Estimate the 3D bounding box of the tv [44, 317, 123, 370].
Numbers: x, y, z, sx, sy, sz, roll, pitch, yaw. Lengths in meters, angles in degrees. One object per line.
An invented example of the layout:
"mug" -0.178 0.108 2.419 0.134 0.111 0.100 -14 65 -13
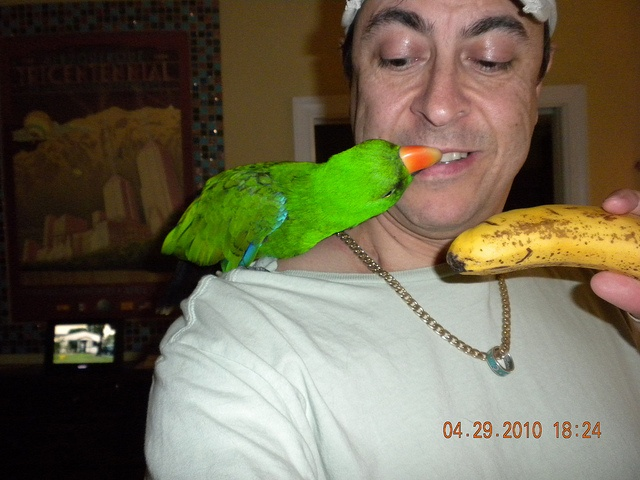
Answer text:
"tv" -1.160 0.545 3.043 0.409 0.247 0.092 0 3 6
